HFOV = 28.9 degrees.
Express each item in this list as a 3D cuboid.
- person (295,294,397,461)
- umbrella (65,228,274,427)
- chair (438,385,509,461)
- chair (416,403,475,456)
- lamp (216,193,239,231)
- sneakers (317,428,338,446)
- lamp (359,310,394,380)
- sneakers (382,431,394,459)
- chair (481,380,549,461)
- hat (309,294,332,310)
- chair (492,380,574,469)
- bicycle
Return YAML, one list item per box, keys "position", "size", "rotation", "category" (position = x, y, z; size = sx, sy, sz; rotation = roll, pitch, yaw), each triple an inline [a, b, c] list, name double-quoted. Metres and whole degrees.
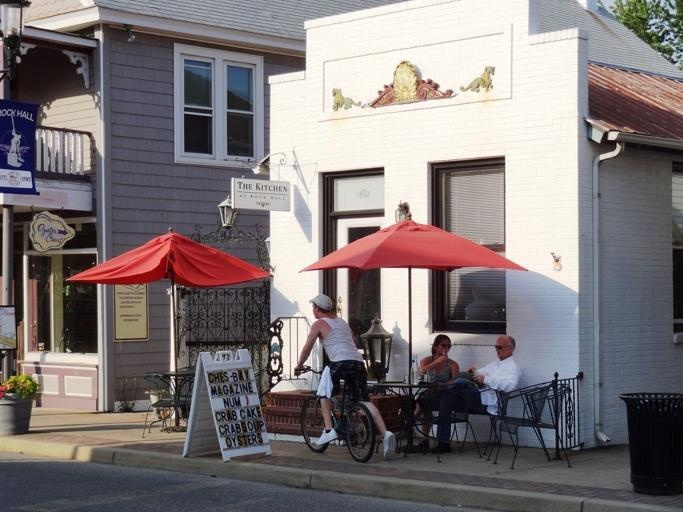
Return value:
- position: [0.056, 1.712, 19.220]
  size: [1.433, 2.377, 1.091]
  rotation: [1, -6, -2]
  category: "person"
- position: [-2.763, 0.617, 21.785]
  size: [2.998, 2.009, 2.793]
  rotation: [3, 14, 18]
  category: "umbrella"
- position: [1.730, 2.268, 19.363]
  size: [1.090, 1.256, 0.842]
  rotation: [-1, -3, 30]
  category: "chair"
- position: [1.505, 2.456, 19.517]
  size: [0.729, 0.770, 0.883]
  rotation: [1, -14, 22]
  category: "chair"
- position: [-1.978, -0.797, 23.083]
  size: [0.287, 0.358, 0.281]
  rotation: [-6, -14, 41]
  category: "lamp"
- position: [-0.199, 2.623, 19.179]
  size: [0.177, 0.265, 0.442]
  rotation: [3, -6, -20]
  category: "sneakers"
- position: [0.606, 1.499, 21.211]
  size: [0.590, 1.085, 0.570]
  rotation: [-2, -2, 25]
  category: "lamp"
- position: [0.675, 2.678, 18.692]
  size: [0.140, 0.394, 0.168]
  rotation: [-4, 41, -10]
  category: "sneakers"
- position: [2.638, 2.418, 19.405]
  size: [1.079, 1.271, 1.109]
  rotation: [2, -5, -18]
  category: "chair"
- position: [-0.302, 0.660, 19.427]
  size: [0.281, 0.152, 0.206]
  rotation: [16, 16, 33]
  category: "hat"
- position: [2.846, 2.377, 19.313]
  size: [1.030, 1.083, 0.910]
  rotation: [1, -5, 10]
  category: "chair"
- position: [-0.054, 2.442, 19.378]
  size: [0.812, 0.915, 1.585]
  rotation: [0, -1, -34]
  category: "bicycle"
